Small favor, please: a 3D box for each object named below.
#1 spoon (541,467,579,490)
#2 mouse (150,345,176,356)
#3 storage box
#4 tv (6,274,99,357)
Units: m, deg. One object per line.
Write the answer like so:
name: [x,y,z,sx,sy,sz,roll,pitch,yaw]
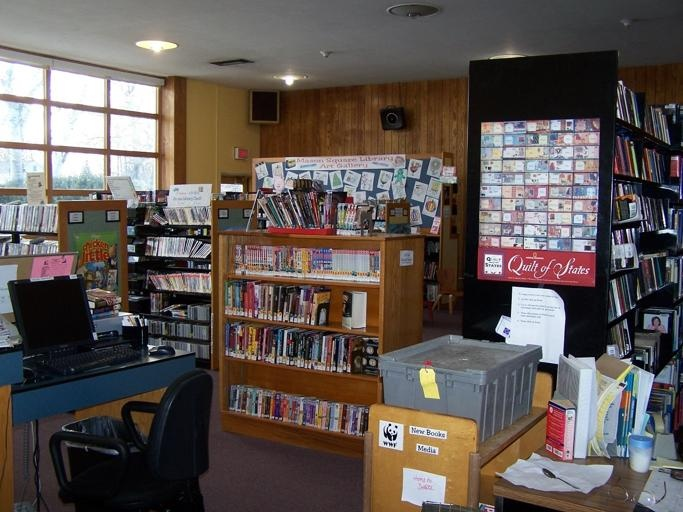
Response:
spoon: [0.932,0.958,2.284,0.032,0.024,0.212,-10,19,-27]
mouse: [-1.250,0.641,3.623,0.144,0.048,0.084,3,-1,11]
storage box: [0.674,0.603,2.706,0.453,0.310,0.673,3,5,36]
tv: [-1.830,0.383,3.285,0.069,0.493,0.490,-16,-4,40]
